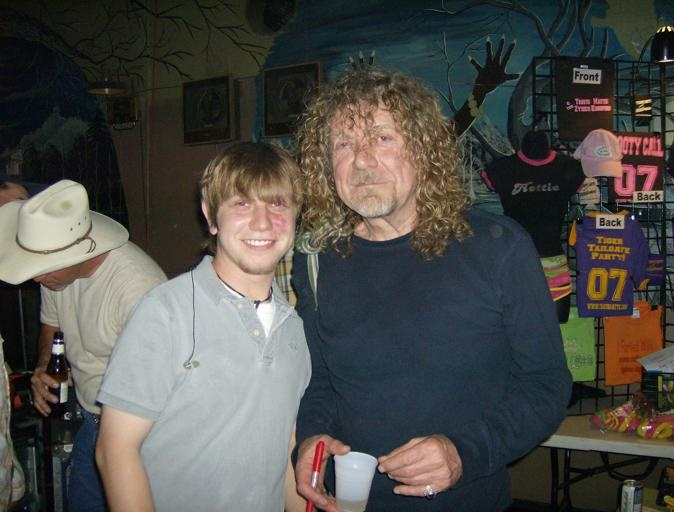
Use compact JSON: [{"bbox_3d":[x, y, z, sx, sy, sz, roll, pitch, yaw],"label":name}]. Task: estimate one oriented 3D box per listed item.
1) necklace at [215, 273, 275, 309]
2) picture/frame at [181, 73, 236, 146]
[{"bbox_3d":[-0.412,0.174,2.823,0.183,0.044,0.145,23,18,-11],"label":"necklace"},{"bbox_3d":[-1.254,-1.462,6.260,0.673,0.660,0.226,0,3,29],"label":"picture/frame"}]
